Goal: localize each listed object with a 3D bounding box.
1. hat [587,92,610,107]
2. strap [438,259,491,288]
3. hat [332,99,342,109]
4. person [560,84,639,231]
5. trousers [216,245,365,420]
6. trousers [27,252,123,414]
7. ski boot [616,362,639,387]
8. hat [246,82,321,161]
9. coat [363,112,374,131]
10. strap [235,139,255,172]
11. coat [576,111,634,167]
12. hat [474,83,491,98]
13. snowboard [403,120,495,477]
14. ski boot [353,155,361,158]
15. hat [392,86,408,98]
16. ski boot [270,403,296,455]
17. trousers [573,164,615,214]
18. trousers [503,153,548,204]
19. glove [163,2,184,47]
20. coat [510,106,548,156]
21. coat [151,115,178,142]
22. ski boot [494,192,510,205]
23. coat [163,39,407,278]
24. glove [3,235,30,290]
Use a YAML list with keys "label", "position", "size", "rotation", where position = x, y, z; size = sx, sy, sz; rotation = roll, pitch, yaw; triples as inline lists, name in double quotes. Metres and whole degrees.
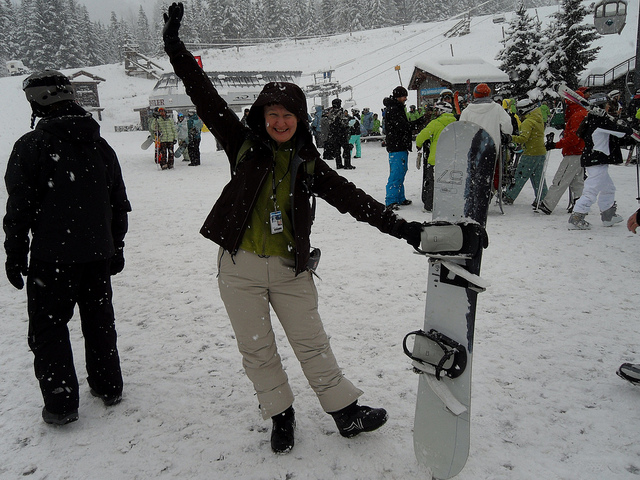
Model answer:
- label: "hat"
  position: [3.854, -1.955, 7.160]
  size: [0.186, 0.155, 0.270]
  rotation: [-10, 14, -24]
- label: "strap"
  position: [0.939, 0.204, 3.378]
  size: [0.367, 0.133, 0.143]
  rotation: [13, 24, 39]
- label: "hat"
  position: [0.412, -3.407, 12.854]
  size: [0.156, 0.206, 0.177]
  rotation: [7, -10, 39]
- label: "person"
  position: [4.054, -1.169, 7.426]
  size: [0.954, 1.866, 1.263]
  rotation: [6, 19, 26]
- label: "trousers"
  position: [-0.223, 0.560, 3.897]
  size: [0.961, 2.024, 0.496]
  rotation: [-10, 32, -12]
- label: "trousers"
  position: [-1.863, 0.594, 4.005]
  size: [0.630, 1.529, 0.441]
  rotation: [-12, 25, -42]
- label: "ski boot"
  position: [2.470, 1.071, 4.138]
  size: [0.163, 0.144, 0.177]
  rotation: [9, 21, 32]
- label: "hat"
  position: [-0.261, -0.913, 3.770]
  size: [0.412, 0.631, 0.327]
  rotation: [1, 16, 3]
- label: "coat"
  position: [1.994, -4.957, 21.494]
  size: [0.635, 0.868, 0.431]
  rotation: [-4, 11, -15]
- label: "strap"
  position: [-0.525, -0.608, 3.663]
  size: [0.039, 0.179, 0.096]
  rotation: [26, -7, -38]
- label: "coat"
  position: [3.864, -1.372, 7.276]
  size: [0.638, 0.877, 0.709]
  rotation: [-10, 16, -8]
- label: "hat"
  position: [2.422, -2.221, 7.694]
  size: [0.180, 0.235, 0.253]
  rotation: [-2, 0, 6]
- label: "snowboard"
  position: [0.887, 0.364, 3.621]
  size: [0.632, 2.454, 0.608]
  rotation: [11, 9, 41]
- label: "ski boot"
  position: [1.171, -2.638, 16.304]
  size: [0.110, 0.142, 0.323]
  rotation: [-3, 12, -21]
- label: "hat"
  position: [1.364, -2.564, 8.796]
  size: [0.217, 0.217, 0.178]
  rotation: [-6, 23, 4]
- label: "ski boot"
  position: [-0.265, 1.401, 3.732]
  size: [0.120, 0.178, 0.361]
  rotation: [0, 0, 0]
- label: "trousers"
  position: [3.864, -0.719, 7.226]
  size: [0.626, 0.720, 0.246]
  rotation: [-12, 19, -25]
- label: "trousers"
  position: [3.530, -1.089, 8.707]
  size: [0.729, 1.306, 0.312]
  rotation: [6, -24, 30]
- label: "glove"
  position: [-1.043, -1.532, 3.663]
  size: [0.156, 0.299, 0.221]
  rotation: [-7, 18, -14]
- label: "coat"
  position: [3.444, -1.797, 8.432]
  size: [0.563, 0.792, 0.464]
  rotation: [-23, 21, -39]
- label: "coat"
  position: [-4.249, -3.019, 14.003]
  size: [0.674, 0.749, 0.421]
  rotation: [1, 34, -2]
- label: "ski boot"
  position: [3.146, -0.699, 8.898]
  size: [0.237, 0.092, 0.178]
  rotation: [23, -11, 29]
- label: "coat"
  position: [-0.313, -0.586, 3.638]
  size: [1.509, 1.639, 0.490]
  rotation: [-2, 17, 3]
- label: "glove"
  position: [-2.224, 0.162, 3.811]
  size: [0.181, 0.435, 0.161]
  rotation: [-14, 20, -33]
